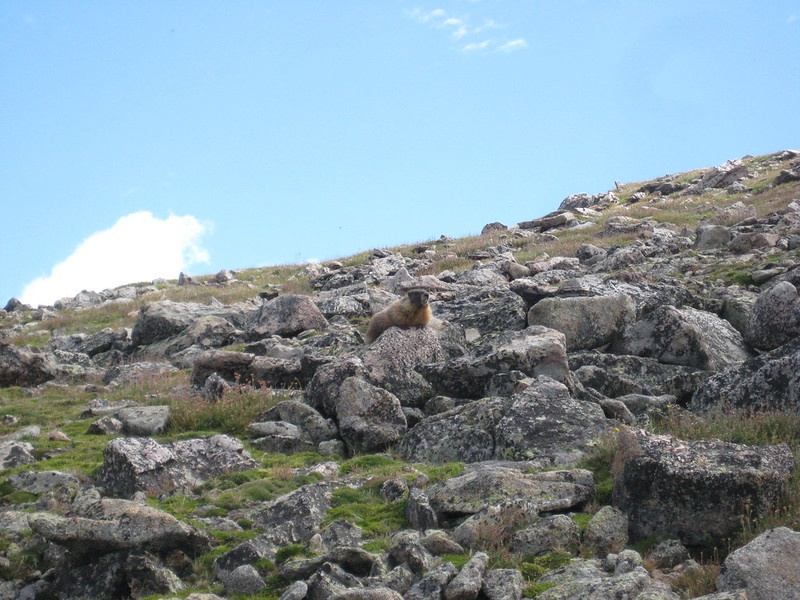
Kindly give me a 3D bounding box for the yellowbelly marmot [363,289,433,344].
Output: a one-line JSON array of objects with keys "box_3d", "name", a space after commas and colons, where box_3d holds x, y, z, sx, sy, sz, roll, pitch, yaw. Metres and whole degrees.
[{"box_3d": [0.010, 0.424, 30.127, 1.805, 0.814, 0.882, -39, -29, 30], "name": "yellowbelly marmot"}]
